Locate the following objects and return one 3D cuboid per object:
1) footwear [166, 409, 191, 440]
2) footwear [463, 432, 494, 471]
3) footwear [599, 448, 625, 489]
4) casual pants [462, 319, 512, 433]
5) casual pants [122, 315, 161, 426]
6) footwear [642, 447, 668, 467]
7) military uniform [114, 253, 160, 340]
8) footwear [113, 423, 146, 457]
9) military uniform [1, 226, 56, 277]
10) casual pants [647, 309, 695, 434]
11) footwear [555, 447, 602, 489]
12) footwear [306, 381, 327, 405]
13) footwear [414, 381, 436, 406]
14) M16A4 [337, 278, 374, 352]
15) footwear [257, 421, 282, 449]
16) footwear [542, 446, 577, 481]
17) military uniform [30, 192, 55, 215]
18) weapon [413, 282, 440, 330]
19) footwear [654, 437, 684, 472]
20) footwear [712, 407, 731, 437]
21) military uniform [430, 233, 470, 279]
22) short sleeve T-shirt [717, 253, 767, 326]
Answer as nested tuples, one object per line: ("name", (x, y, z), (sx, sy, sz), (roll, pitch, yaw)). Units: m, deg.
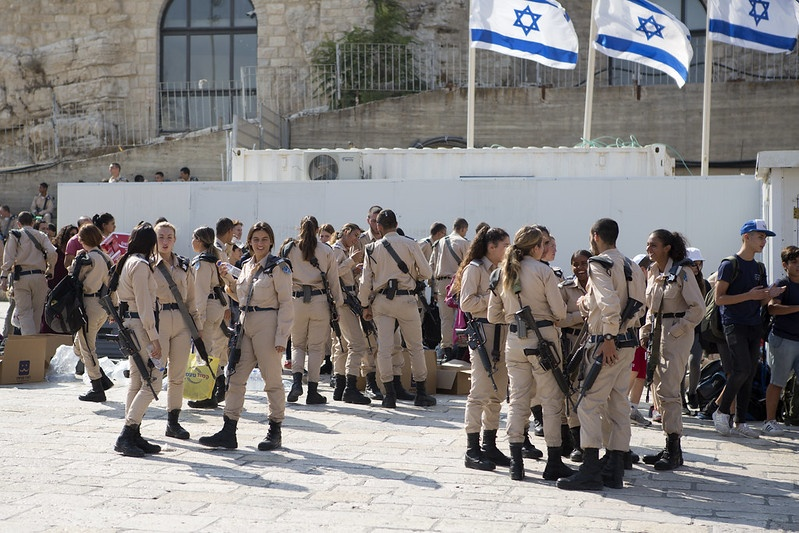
("footwear", (-3.679, 2.587, 20.394), (0.394, 0.488, 0.302), (-1, 2, -12))
("footwear", (1.258, 2.911, 19.550), (0.494, 0.581, 0.281), (0, 2, 5))
("footwear", (3.276, 3.113, 19.126), (0.357, 0.579, 0.425), (0, 2, 10))
("casual pants", (1.403, 1.586, 19.912), (0.661, 2.068, 0.458), (6, -3, 0))
("casual pants", (-4.143, 1.679, 19.858), (0.612, 1.679, 0.361), (-1, 2, -4))
("footwear", (4.050, 3.035, 19.618), (0.487, 0.334, 0.184), (10, -9, -17))
("military uniform", (-4.234, 0.502, 19.901), (0.550, 1.638, 1.207), (-3, 5, -35))
("footwear", (-4.224, 2.821, 19.922), (0.655, 0.559, 0.295), (7, -4, 3))
("military uniform", (-7.188, -0.258, 23.895), (0.883, 0.870, 0.407), (-3, 7, -27))
("casual pants", (4.379, 1.745, 19.718), (0.546, 1.798, 0.498), (0, 2, 14))
("footwear", (2.770, 3.108, 18.943), (0.651, 0.644, 0.186), (0, 2, 9))
("footwear", (-1.516, 2.272, 21.928), (0.212, 0.506, 0.501), (3, 5, 39))
("footwear", (0.451, 2.252, 21.999), (0.404, 0.441, 0.230), (-1, 2, 1))
("M16A4", (-0.793, 0.894, 22.056), (0.174, 1.314, 0.375), (-21, 8, 43))
("footwear", (-2.115, 2.722, 20.032), (0.412, 0.460, 0.277), (-1, 2, -13))
("footwear", (2.394, 3.061, 19.335), (0.614, 0.656, 0.308), (-1, 3, -9))
("military uniform", (-9.536, -1.617, 32.926), (0.728, 0.795, 0.451), (0, -3, 0))
("weapon", (0.499, 0.775, 23.640), (0.158, 0.946, 0.420), (-29, -6, 7))
("footwear", (4.259, 2.931, 19.600), (0.475, 0.567, 0.228), (-1, 2, 4))
("footwear", (5.410, 2.639, 20.885), (0.178, 0.500, 0.203), (-12, -6, -19))
("military uniform", (0.947, -0.181, 23.408), (0.755, 0.774, 0.403), (5, 6, 43))
("short sleeve T-shirt", (5.730, 0.427, 20.750), (0.976, 1.315, 0.612), (2, -12, -3))
